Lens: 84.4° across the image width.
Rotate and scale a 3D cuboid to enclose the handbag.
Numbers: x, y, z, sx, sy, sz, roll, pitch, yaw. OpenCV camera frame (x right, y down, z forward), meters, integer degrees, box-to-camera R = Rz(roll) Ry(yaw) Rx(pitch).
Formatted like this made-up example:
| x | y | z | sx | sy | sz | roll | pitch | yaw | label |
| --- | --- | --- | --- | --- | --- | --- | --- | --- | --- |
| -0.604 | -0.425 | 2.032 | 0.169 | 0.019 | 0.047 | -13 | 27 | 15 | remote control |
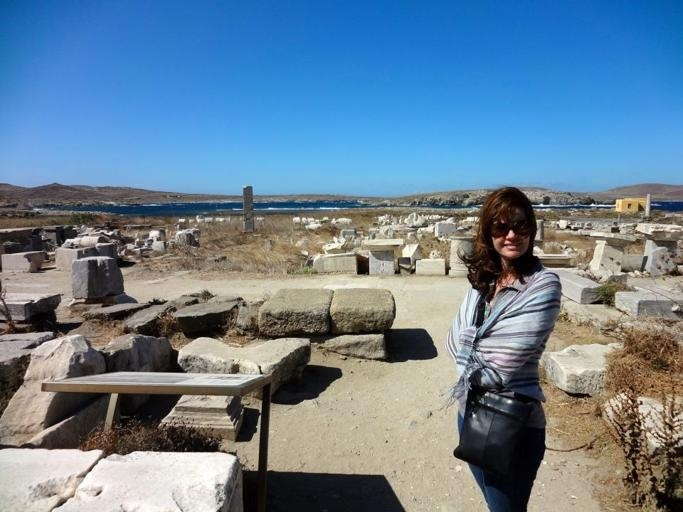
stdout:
| x | y | z | sx | sy | sz | roll | pitch | yaw | label |
| --- | --- | --- | --- | --- | --- | --- | --- | --- | --- |
| 0.833 | 0.957 | 2.051 | 0.172 | 0.416 | 0.369 | 20 | -10 | -41 | handbag |
